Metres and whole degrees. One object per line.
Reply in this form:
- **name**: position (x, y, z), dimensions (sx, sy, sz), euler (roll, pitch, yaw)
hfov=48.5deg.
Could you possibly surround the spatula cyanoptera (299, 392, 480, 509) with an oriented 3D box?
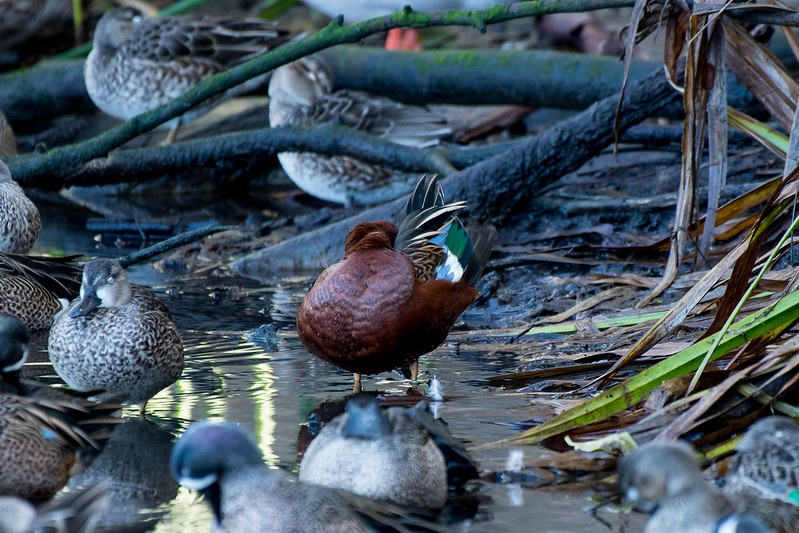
- **spatula cyanoptera**: position (-0.013, 0.782, 3.780), dimensions (0.584, 0.409, 0.649), euler (12, 20, 13)
